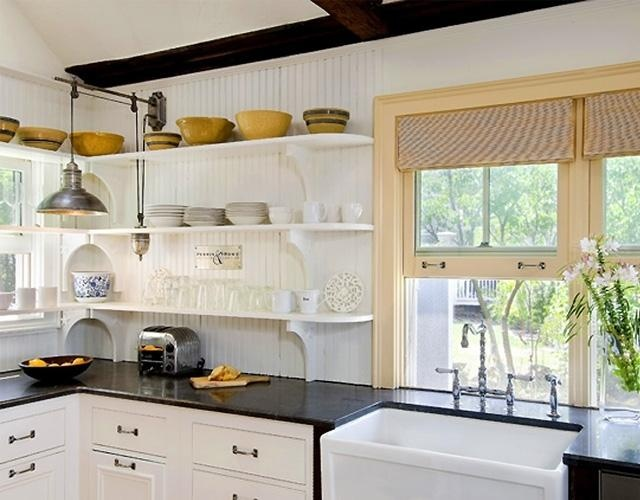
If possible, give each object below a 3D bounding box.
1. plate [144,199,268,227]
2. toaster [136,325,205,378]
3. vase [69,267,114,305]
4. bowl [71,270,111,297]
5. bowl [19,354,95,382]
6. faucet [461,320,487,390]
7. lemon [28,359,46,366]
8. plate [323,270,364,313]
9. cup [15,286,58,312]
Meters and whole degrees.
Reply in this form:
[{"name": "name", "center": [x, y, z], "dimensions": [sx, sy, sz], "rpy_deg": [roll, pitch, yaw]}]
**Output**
[{"name": "plate", "center": [-0.656, -0.211, 3.277], "dimensions": [0.755, 0.105, 0.316], "rpy_deg": [-1, -1, 29]}, {"name": "toaster", "center": [-0.923, 0.608, 3.348], "dimensions": [0.363, 0.234, 0.245], "rpy_deg": [-2, -1, 34]}, {"name": "vase", "center": [-1.468, 0.235, 3.528], "dimensions": [0.221, 0.148, 0.216], "rpy_deg": [-2, -3, 33]}, {"name": "bowl", "center": [-1.492, 0.219, 3.573], "dimensions": [0.193, 0.126, 0.188], "rpy_deg": [0, -4, 0]}, {"name": "bowl", "center": [-1.524, 0.677, 3.203], "dimensions": [0.360, 0.079, 0.379], "rpy_deg": [0, -1, 0]}, {"name": "faucet", "center": [0.778, 0.527, 2.769], "dimensions": [0.132, 0.332, 0.330], "rpy_deg": [-1, 0, 15]}, {"name": "lemon", "center": [-1.580, 0.630, 3.071], "dimensions": [0.064, 0.024, 0.060], "rpy_deg": [1, -8, 8]}, {"name": "plate", "center": [0.132, 0.229, 3.023], "dimensions": [0.232, 0.213, 0.051], "rpy_deg": [3, 0, 34]}, {"name": "cup", "center": [-1.706, 0.289, 3.297], "dimensions": [0.235, 0.129, 0.127], "rpy_deg": [-1, 2, -34]}]
